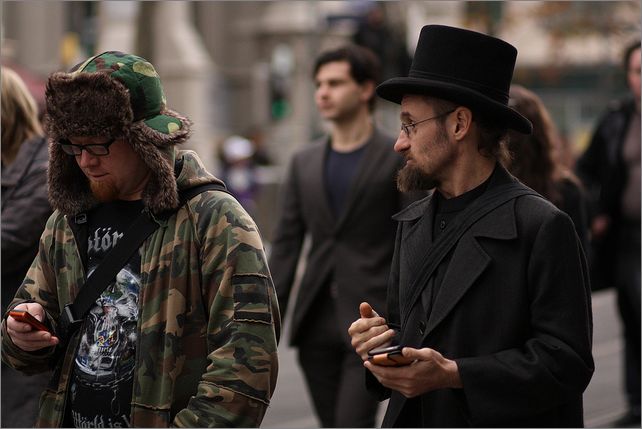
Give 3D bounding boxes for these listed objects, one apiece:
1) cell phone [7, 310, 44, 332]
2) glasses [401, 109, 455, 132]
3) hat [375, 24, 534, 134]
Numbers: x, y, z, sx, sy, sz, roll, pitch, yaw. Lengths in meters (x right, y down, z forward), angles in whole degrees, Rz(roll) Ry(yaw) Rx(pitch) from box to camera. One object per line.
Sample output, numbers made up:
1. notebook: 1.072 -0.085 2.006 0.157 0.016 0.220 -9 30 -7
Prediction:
1. cell phone: -1.769 0.645 6.627 0.145 0.033 0.262 7 -25 38
2. glasses: 0.634 -0.567 6.671 0.188 0.055 0.178 -21 -2 0
3. hat: 0.954 -0.832 6.905 0.940 0.540 1.037 13 2 -39
